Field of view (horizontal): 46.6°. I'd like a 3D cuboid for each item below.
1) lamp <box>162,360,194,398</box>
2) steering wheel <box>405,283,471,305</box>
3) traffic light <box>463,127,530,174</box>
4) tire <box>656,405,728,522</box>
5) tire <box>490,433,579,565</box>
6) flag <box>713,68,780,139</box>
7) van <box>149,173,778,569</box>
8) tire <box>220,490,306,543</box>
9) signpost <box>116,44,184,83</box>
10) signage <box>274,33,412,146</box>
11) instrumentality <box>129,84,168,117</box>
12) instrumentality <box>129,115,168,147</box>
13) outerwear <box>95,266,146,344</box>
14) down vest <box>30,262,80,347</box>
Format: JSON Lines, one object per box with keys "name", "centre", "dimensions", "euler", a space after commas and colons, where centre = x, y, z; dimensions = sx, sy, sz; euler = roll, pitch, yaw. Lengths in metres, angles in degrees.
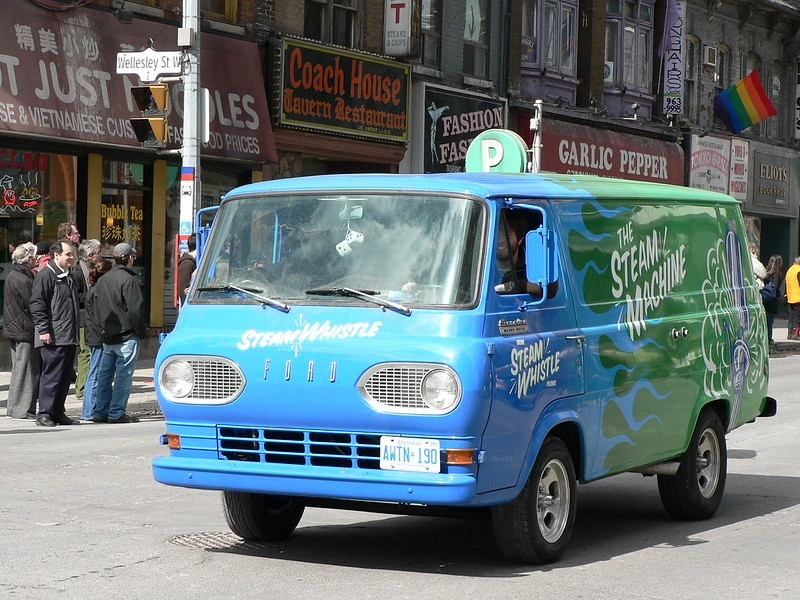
{"name": "lamp", "centre": [-1.591, 0.574, 6.706], "dimensions": [0.222, 0.285, 0.068], "euler": [1, -1, 29]}
{"name": "steering wheel", "centre": [0.223, -0.032, 6.309], "dimensions": [0.258, 0.116, 0.208], "euler": [7, -7, 4]}
{"name": "traffic light", "centre": [1.902, -2.933, 18.272], "dimensions": [0.734, 0.816, 1.588], "euler": [1, 7, -20]}
{"name": "tire", "centre": [2.561, 1.467, 8.267], "dimensions": [0.271, 0.990, 0.866], "euler": [-7, 1, 33]}
{"name": "tire", "centre": [0.920, 1.400, 6.523], "dimensions": [0.268, 0.993, 0.860], "euler": [-4, 0, 36]}
{"name": "flag", "centre": [13.603, -7.866, 37.084], "dimensions": [2.552, 2.187, 0.302], "euler": [-37, 12, 2]}
{"name": "van", "centre": [0.786, 0.389, 7.825], "dimensions": [2.509, 2.677, 4.790], "euler": [-3, -6, 36]}
{"name": "tire", "centre": [-1.055, 1.666, 7.151], "dimensions": [0.159, 0.515, 0.454], "euler": [1, -13, 38]}
{"name": "signpost", "centre": [-4.328, -4.040, 16.004], "dimensions": [1.319, 1.005, 0.206], "euler": [-1, -8, 13]}
{"name": "signage", "centre": [-1.332, -5.024, 22.435], "dimensions": [3.963, 2.029, 0.183], "euler": [-3, 8, -44]}
{"name": "instrumentality", "centre": [-3.966, -3.194, 14.849], "dimensions": [0.571, 0.522, 0.232], "euler": [4, 6, 9]}
{"name": "instrumentality", "centre": [-3.968, -2.672, 14.826], "dimensions": [0.566, 0.483, 0.293], "euler": [5, 6, 15]}
{"name": "outerwear", "centre": [-4.076, 0.097, 13.484], "dimensions": [0.851, 1.246, 0.636], "euler": [7, 11, 31]}
{"name": "down vest", "centre": [-4.889, 0.081, 13.208], "dimensions": [0.632, 1.192, 0.314], "euler": [-1, 6, -28]}
